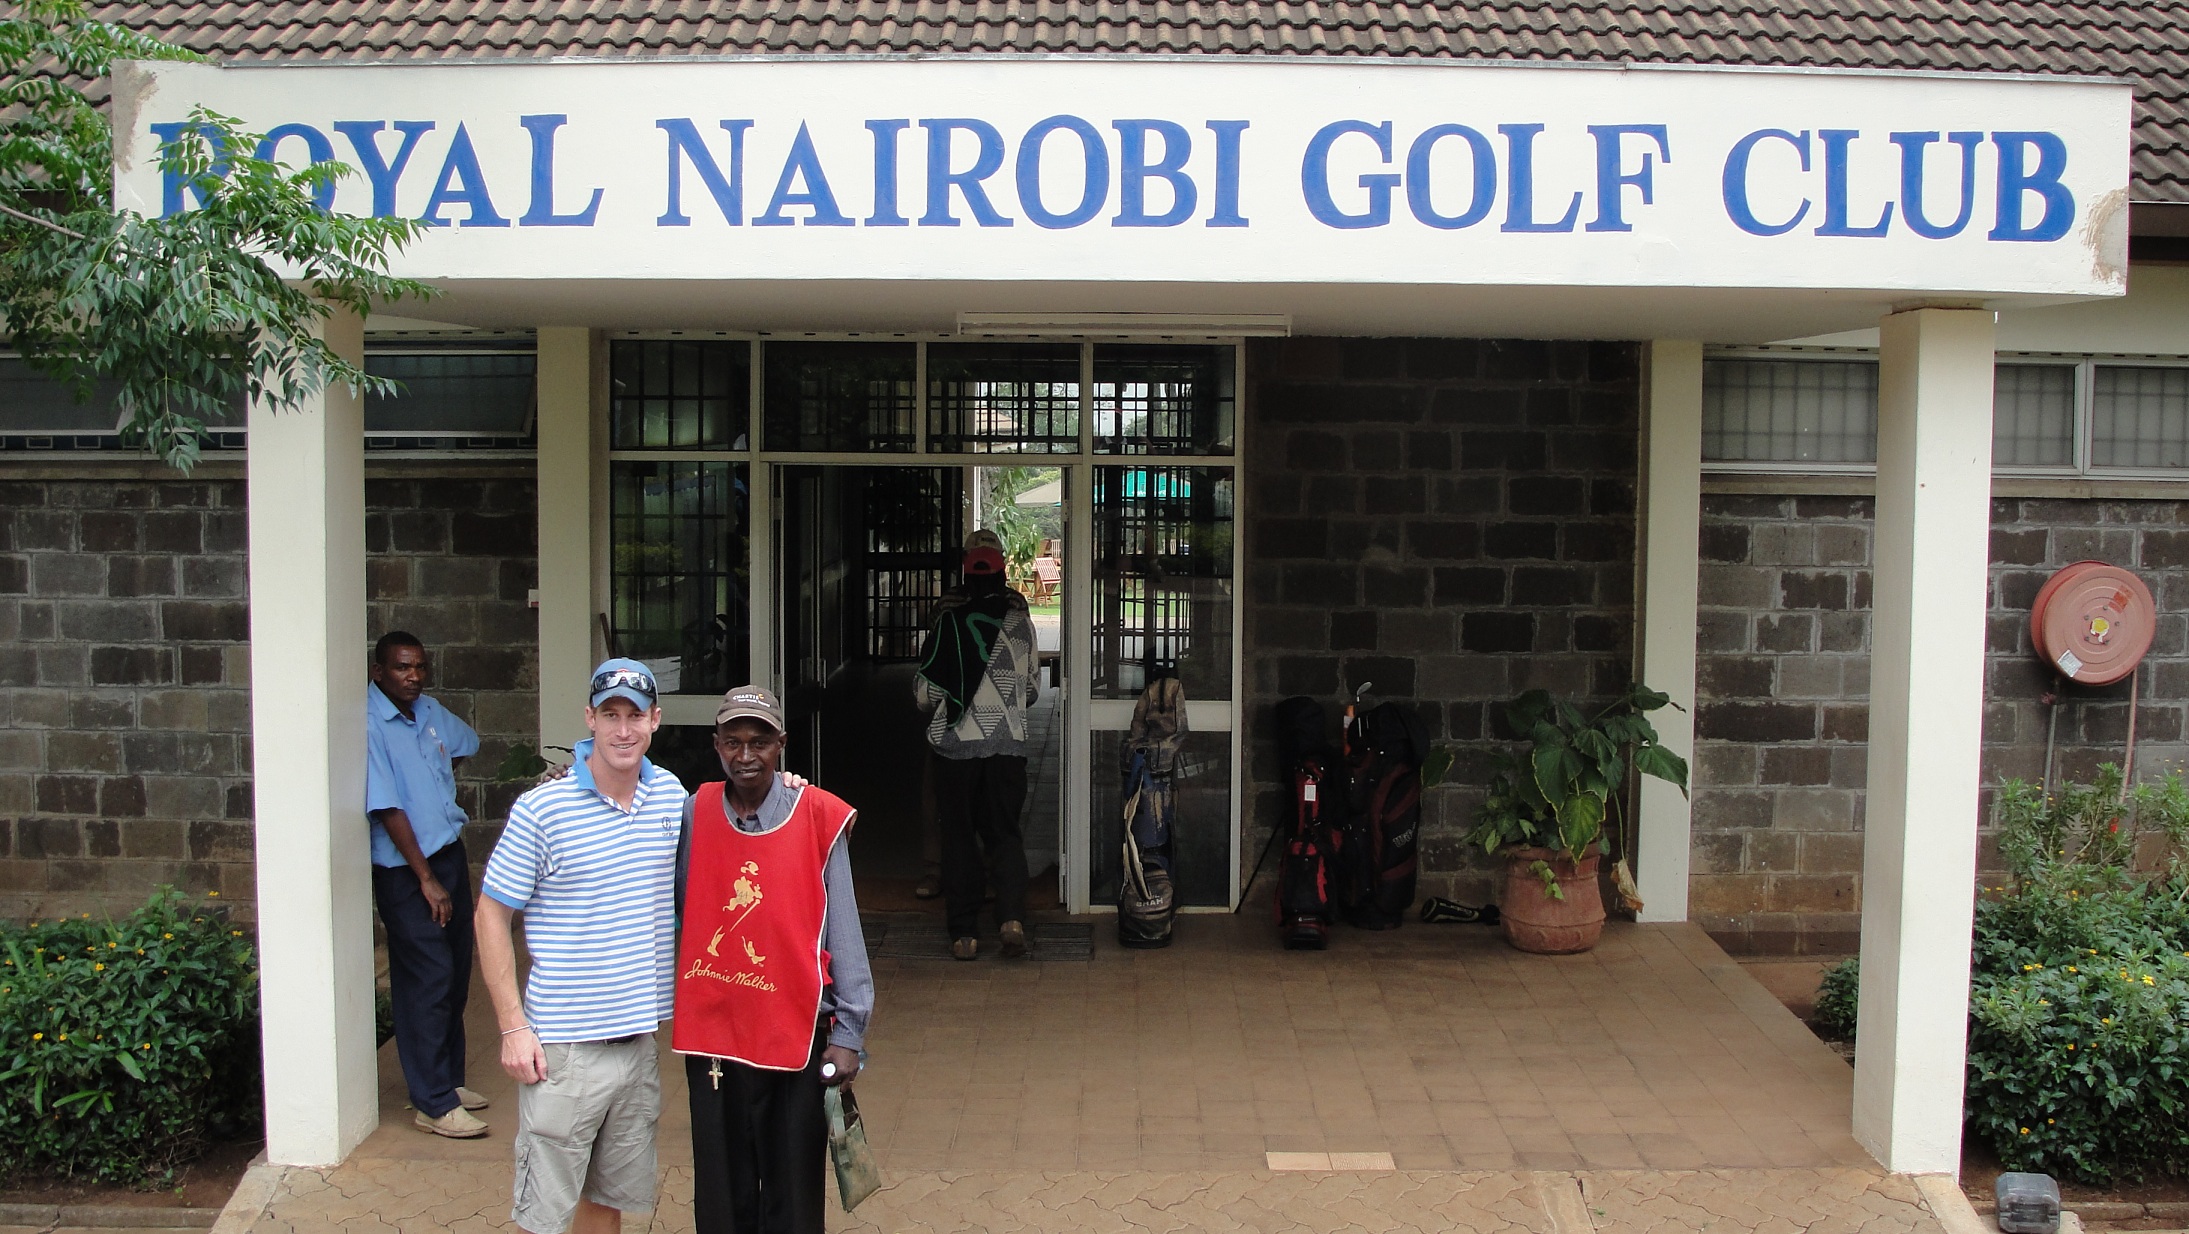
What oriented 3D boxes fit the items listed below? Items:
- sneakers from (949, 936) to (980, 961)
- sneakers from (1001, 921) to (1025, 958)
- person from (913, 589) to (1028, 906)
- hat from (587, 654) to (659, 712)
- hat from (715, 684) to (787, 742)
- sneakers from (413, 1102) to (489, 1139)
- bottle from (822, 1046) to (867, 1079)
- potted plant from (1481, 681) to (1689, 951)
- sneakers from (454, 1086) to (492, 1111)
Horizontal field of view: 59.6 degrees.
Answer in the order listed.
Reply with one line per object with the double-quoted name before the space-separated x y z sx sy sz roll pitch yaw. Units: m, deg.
"sneakers" -0.853 2.117 12.322 0.153 0.114 0.286 -1 -5 -4
"sneakers" -0.519 2.053 12.327 0.186 0.246 0.136 -1 3 -13
"person" -0.771 0.825 12.401 0.751 2.595 0.447 -1 3 -5
"hat" -2.283 0.313 9.256 0.277 0.203 0.384 4 -17 -9
"hat" -1.662 0.447 9.208 0.257 0.199 0.381 -2 -11 -2
"sneakers" -3.530 2.745 10.481 0.363 0.128 0.171 0 0 11
"bottle" -1.228 2.144 9.173 0.150 0.197 0.195 2 5 32
"potted plant" 3.085 1.292 13.013 1.704 2.000 1.670 0 5 -3
"sneakers" -3.472 2.667 10.660 0.198 0.072 0.089 2 4 32
